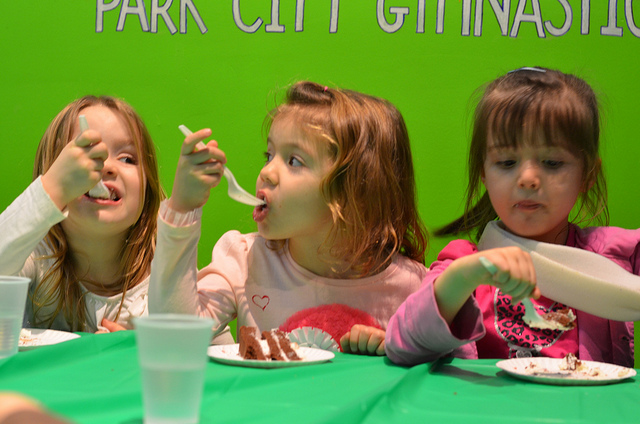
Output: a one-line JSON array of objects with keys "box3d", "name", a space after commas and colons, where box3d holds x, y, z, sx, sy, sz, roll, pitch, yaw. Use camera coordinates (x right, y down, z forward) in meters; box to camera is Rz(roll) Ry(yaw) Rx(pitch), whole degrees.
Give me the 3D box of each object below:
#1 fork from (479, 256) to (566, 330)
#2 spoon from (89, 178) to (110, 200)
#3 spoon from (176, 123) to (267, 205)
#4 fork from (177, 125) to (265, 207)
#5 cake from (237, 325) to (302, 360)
[{"box3d": [0.677, 0.267, 2.090, 0.325, 0.059, 0.078, 46, 7, -11], "name": "fork"}, {"box3d": [-0.843, -0.079, 2.454, 0.076, 0.043, 0.074, 30, 9, 34], "name": "spoon"}, {"box3d": [-0.387, -0.204, 2.609, 0.057, 0.448, 0.078, -12, 31, 40], "name": "spoon"}, {"box3d": [-0.391, -0.197, 2.601, 0.075, 0.437, 0.072, -38, 19, -9], "name": "fork"}, {"box3d": [-0.165, 0.422, 2.007, 0.124, 0.054, 0.127, 25, 17, 24], "name": "cake"}]
